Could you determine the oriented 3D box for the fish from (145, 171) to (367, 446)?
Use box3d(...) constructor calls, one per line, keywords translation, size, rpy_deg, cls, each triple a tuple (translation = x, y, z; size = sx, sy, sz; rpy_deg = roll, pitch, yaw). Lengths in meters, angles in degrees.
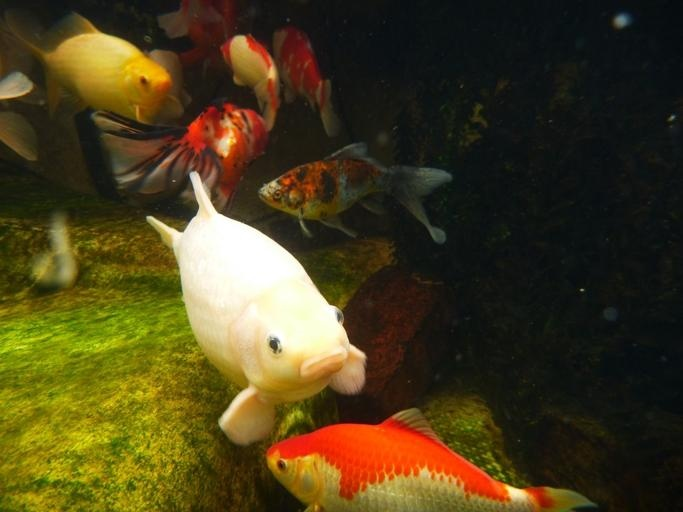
box3d(translation=(-0.427, 0.188, 2.906), size=(0.508, 0.583, 1.119), rpy_deg=(-22, 52, -30), cls="fish")
